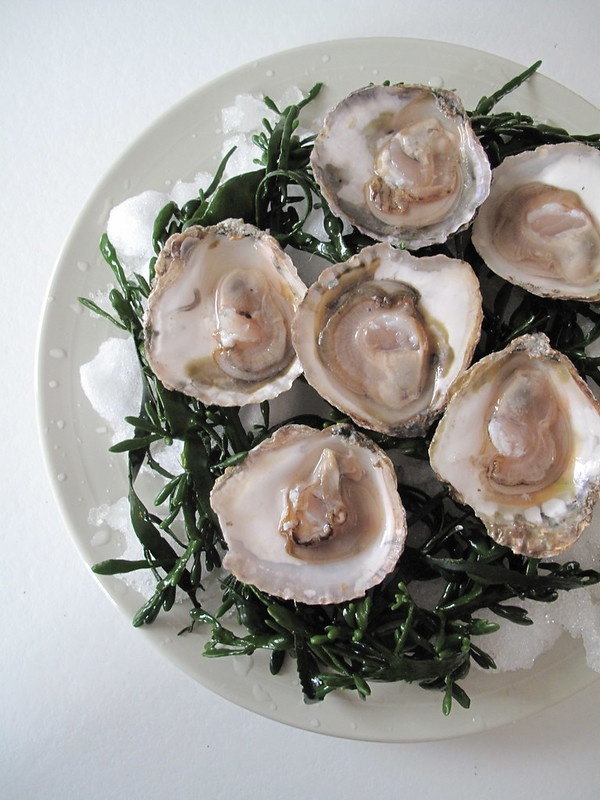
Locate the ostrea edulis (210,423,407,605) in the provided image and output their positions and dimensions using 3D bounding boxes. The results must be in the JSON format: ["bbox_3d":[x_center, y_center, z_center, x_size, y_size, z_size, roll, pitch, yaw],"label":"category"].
[{"bbox_3d":[0.013,0.214,1.490,0.402,0.309,0.107,5,-8,4],"label":"ostrea edulis"}]
